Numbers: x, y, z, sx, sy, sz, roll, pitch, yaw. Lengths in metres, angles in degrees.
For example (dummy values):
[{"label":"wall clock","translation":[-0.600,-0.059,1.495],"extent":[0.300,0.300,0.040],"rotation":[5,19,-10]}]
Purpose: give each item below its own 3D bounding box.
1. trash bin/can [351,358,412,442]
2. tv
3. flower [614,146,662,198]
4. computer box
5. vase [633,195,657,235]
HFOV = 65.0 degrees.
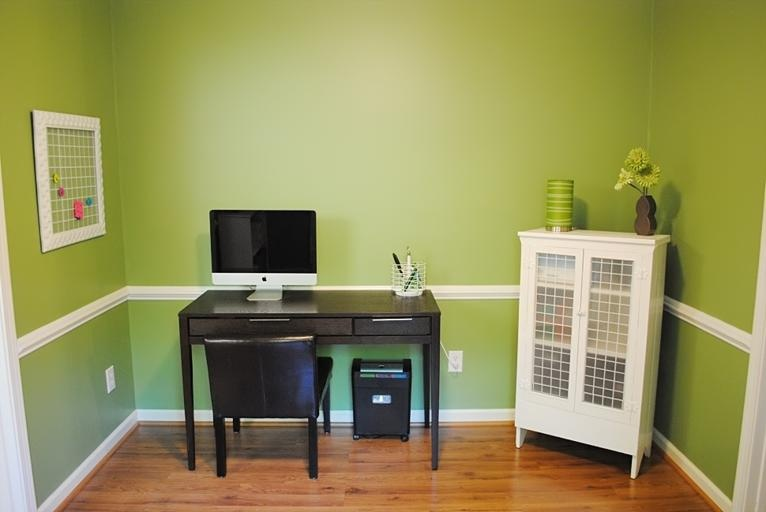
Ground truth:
[{"label":"trash bin/can","translation":[-0.006,0.976,4.141],"extent":[0.399,0.538,0.311],"rotation":[1,7,5]},{"label":"tv","translation":[-0.766,0.003,3.927],"extent":[0.692,0.607,0.221],"rotation":[0,15,-3]},{"label":"flower","translation":[1.587,-0.484,3.706],"extent":[0.237,0.283,0.191],"rotation":[-27,26,-30]},{"label":"computer box","translation":[-0.014,1.013,4.134],"extent":[0.406,0.523,0.318],"rotation":[2,-9,-11]},{"label":"vase","translation":[1.595,-0.246,3.659],"extent":[0.120,0.243,0.110],"rotation":[8,11,36]}]
